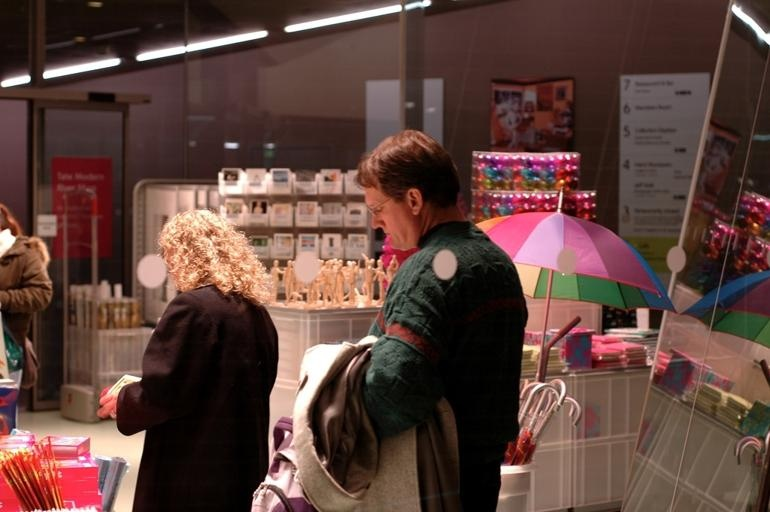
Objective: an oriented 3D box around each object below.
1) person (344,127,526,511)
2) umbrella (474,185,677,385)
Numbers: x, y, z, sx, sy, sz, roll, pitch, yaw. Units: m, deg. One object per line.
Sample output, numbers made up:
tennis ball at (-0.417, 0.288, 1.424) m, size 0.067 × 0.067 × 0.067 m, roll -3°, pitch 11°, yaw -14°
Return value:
person at (0.140, 0.180, 1.741) m, size 0.449 × 1.006 × 0.237 m, roll -3°, pitch 5°, yaw -28°
umbrella at (0.873, 0.072, 3.038) m, size 0.843 × 0.735 × 0.823 m, roll 14°, pitch -24°, yaw 13°
